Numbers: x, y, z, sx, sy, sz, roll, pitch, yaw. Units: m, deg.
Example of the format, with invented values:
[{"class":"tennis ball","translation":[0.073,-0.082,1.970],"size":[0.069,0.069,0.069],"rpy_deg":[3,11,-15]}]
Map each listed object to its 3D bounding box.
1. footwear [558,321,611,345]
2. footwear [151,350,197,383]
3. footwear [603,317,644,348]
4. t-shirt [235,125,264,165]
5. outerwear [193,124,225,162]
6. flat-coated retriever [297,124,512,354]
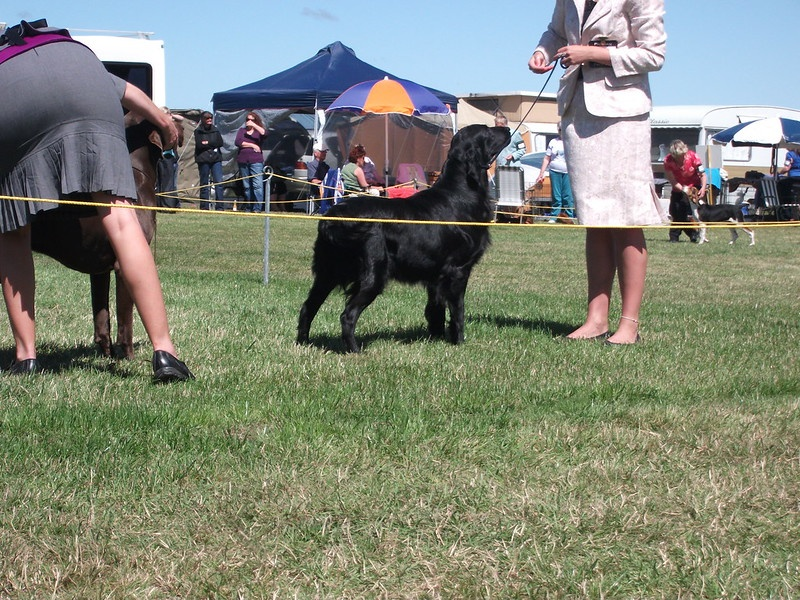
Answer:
[{"class":"footwear","translation":[1.196,0.206,6.031],"size":[0.400,0.164,0.137],"rpy_deg":[2,-3,-16]},{"class":"footwear","translation":[-1.068,0.318,4.502],"size":[0.088,0.099,0.230],"rpy_deg":[1,-1,22]},{"class":"footwear","translation":[1.388,0.187,5.919],"size":[0.116,0.141,0.335],"rpy_deg":[1,2,43]},{"class":"t-shirt","translation":[-2.524,-2.589,15.947],"size":[0.471,0.635,0.483],"rpy_deg":[-2,7,-8]},{"class":"outerwear","translation":[-3.421,-2.791,16.965],"size":[0.463,0.696,0.378],"rpy_deg":[-2,7,-12]},{"class":"flat-coated retriever","translation":[0.075,-0.398,5.769],"size":[1.240,1.346,0.578],"rpy_deg":[-6,8,-36]}]
